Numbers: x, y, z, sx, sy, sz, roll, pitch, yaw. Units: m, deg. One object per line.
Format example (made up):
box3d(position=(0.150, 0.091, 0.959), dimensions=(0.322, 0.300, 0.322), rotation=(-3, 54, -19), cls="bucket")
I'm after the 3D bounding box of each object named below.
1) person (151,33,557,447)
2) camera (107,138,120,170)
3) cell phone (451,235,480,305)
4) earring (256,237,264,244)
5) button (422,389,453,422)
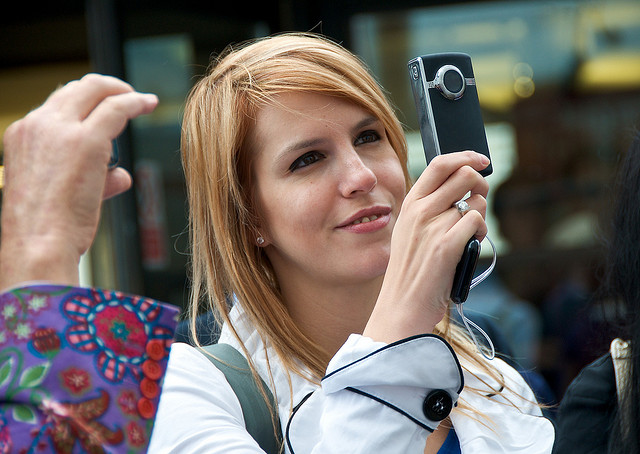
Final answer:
box3d(position=(0.208, 0.074, 3.780), dimensions=(1.408, 1.229, 0.862), rotation=(-6, -13, -46), cls="person")
box3d(position=(-0.636, -0.224, 3.113), dimensions=(0.036, 0.103, 0.093), rotation=(-3, 11, -12), cls="camera")
box3d(position=(0.477, 0.148, 3.291), dimensions=(0.090, 0.243, 0.083), rotation=(0, 10, 2), cls="cell phone")
box3d(position=(-0.214, 0.053, 3.673), dimensions=(0.019, 0.022, 0.005), rotation=(-5, -1, 20), cls="earring")
box3d(position=(0.385, 0.585, 3.273), dimensions=(0.098, 0.100, 0.037), rotation=(0, 10, 3), cls="button")
